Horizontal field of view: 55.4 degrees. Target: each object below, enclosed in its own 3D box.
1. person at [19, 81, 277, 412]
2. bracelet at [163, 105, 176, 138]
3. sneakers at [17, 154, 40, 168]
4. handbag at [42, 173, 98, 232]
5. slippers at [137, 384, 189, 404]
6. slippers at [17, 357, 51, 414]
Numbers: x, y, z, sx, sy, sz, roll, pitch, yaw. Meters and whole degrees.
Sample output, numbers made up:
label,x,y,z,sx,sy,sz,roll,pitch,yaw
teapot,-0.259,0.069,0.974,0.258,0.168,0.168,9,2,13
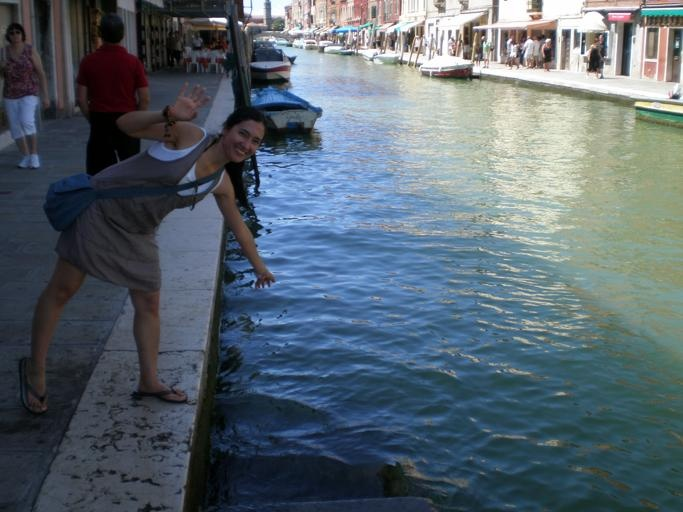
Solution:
label,x,y,z,sx,sy,sz,roll,pitch,yaw
person,-1.126,-0.007,3.752,1.467,1.880,0.466,-1,21,-7
bracelet,-0.914,-0.716,3.483,0.064,0.167,0.084,-9,22,-25
sneakers,-4.585,-1.387,9.633,0.260,0.109,0.359,-2,-2,-27
handbag,-1.484,-0.287,3.608,0.263,0.273,0.155,8,21,21
slippers,-1.064,0.827,3.906,0.282,0.052,0.113,0,17,-7
slippers,-1.779,0.756,3.802,0.130,0.316,0.154,-6,6,22
